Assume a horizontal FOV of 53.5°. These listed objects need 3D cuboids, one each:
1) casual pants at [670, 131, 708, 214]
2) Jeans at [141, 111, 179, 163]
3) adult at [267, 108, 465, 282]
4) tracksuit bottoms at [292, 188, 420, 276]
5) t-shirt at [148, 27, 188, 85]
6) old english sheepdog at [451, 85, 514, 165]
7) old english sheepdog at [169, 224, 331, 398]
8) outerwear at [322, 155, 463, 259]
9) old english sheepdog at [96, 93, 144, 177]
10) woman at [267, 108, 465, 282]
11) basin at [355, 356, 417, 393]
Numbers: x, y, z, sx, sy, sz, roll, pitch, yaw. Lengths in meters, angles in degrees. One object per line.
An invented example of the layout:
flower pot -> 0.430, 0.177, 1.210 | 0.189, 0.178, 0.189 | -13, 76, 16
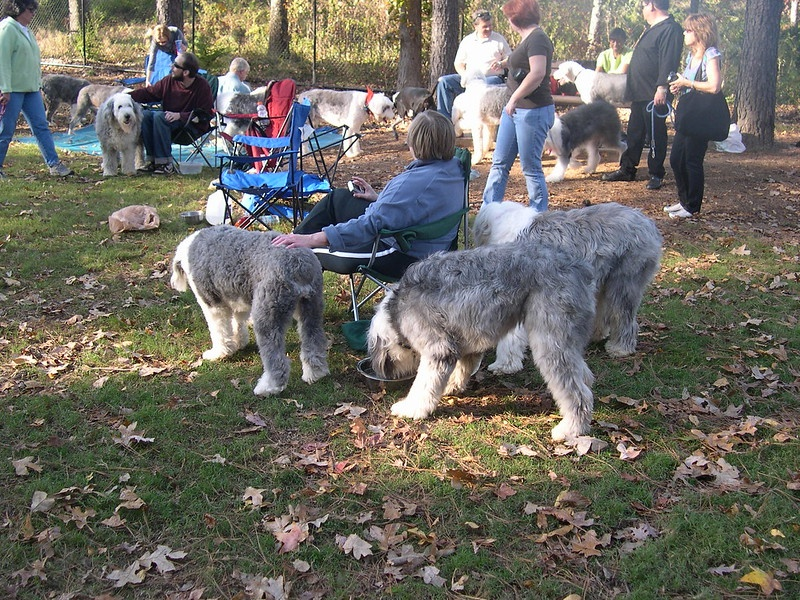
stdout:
casual pants -> 3.391, -1.510, 9.392 | 0.390, 0.975, 0.489 | 3, 15, 18
Jeans -> -3.632, -2.472, 11.995 | 0.527, 0.777, 0.254 | -6, 15, -16
adult -> -0.438, -0.829, 6.850 | 1.991, 1.556, 1.177 | 4, 20, 14
tracksuit bottoms -> -0.355, -0.529, 7.041 | 1.026, 0.875, 0.852 | -4, 19, 19
t-shirt -> -4.153, -4.130, 13.588 | 0.744, 0.498, 0.884 | 14, 13, -1
old english sheepdog -> 1.427, -2.791, 11.830 | 0.526, 1.025, 1.865 | -7, 24, -9
old english sheepdog -> -1.243, 0.053, 6.435 | 1.233, 1.283, 0.448 | 8, 17, 33
outerwear -> 0.025, -0.750, 6.320 | 1.029, 0.451, 0.753 | -12, 11, 21
old english sheepdog -> -4.142, -2.433, 11.689 | 0.658, 1.186, 0.515 | 0, 14, 7
woman -> -0.443, -0.804, 6.819 | 1.983, 1.659, 1.171 | 2, 18, 6
basin -> -0.116, 0.571, 6.343 | 0.315, 0.087, 0.303 | 8, 10, -1
